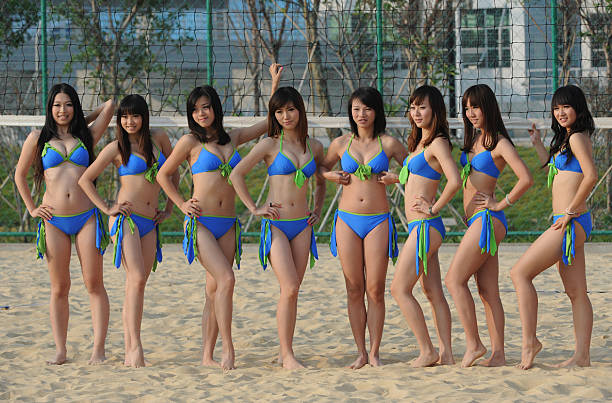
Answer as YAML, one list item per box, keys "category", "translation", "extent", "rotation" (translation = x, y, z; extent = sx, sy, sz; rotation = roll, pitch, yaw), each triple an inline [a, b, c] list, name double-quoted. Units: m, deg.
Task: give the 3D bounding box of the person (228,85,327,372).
- category: "person"
  translation: [-0.276, 0.259, 9.482]
  extent: [0.858, 3.060, 0.959]
  rotation: [6, 15, 29]

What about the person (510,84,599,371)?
- category: "person"
  translation: [2.746, 0.262, 9.155]
  extent: [0.844, 2.971, 1.115]
  rotation: [5, 15, 25]

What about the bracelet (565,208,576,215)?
- category: "bracelet"
  translation: [2.809, 0.098, 8.987]
  extent: [0.062, 0.042, 0.052]
  rotation: [2, 27, -25]

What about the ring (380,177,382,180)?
- category: "ring"
  translation: [0.819, -0.265, 9.268]
  extent: [0.028, 0.032, 0.011]
  rotation: [0, -3, 15]

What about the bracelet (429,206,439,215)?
- category: "bracelet"
  translation: [1.381, 0.089, 9.133]
  extent: [0.080, 0.068, 0.080]
  rotation: [-24, 32, -33]

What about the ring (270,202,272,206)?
- category: "ring"
  translation: [-0.385, 0.019, 9.303]
  extent: [0.030, 0.033, 0.014]
  rotation: [0, -20, -12]

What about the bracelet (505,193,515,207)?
- category: "bracelet"
  translation: [2.205, -0.012, 9.170]
  extent: [0.046, 0.110, 0.118]
  rotation: [8, -14, 2]
